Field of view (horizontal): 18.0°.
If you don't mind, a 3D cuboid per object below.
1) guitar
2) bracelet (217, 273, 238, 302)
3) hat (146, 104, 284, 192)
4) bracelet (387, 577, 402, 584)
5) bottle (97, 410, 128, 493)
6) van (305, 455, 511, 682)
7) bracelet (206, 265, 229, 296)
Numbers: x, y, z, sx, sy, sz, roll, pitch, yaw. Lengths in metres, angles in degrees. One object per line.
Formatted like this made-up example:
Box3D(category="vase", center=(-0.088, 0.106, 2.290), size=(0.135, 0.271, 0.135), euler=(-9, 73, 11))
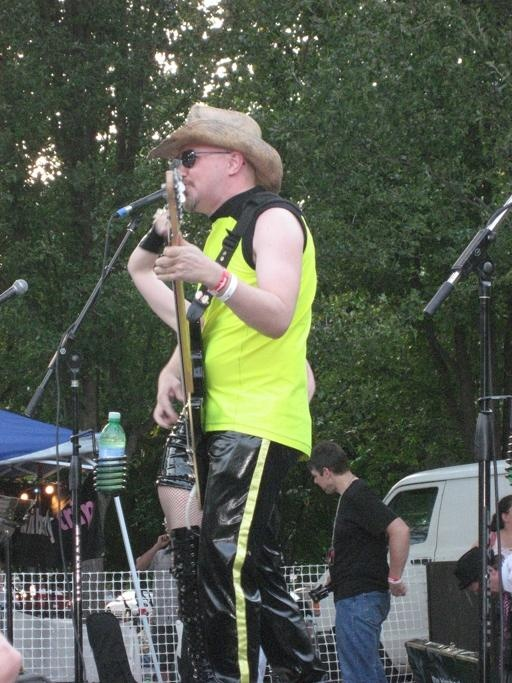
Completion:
Box3D(category="guitar", center=(-0.457, -0.018, 10.808), size=(0.235, 2.215, 0.577), euler=(-1, -5, -2))
Box3D(category="bracelet", center=(-0.175, -0.357, 10.701), size=(0.062, 0.166, 0.145), euler=(33, 6, 10))
Box3D(category="hat", center=(-0.178, -1.319, 11.326), size=(0.780, 0.339, 0.594), euler=(19, -7, -14))
Box3D(category="bracelet", center=(1.168, 1.965, 13.280), size=(0.118, 0.059, 0.092), euler=(1, -6, -14))
Box3D(category="bottle", center=(-1.134, 0.878, 12.703), size=(0.239, 0.655, 0.337), euler=(-1, -5, -6))
Box3D(category="van", center=(1.614, 2.170, 16.033), size=(2.439, 1.992, 1.597), euler=(-9, -20, 28))
Box3D(category="bracelet", center=(-0.215, -0.406, 10.741), size=(0.063, 0.167, 0.142), euler=(32, 8, 2))
